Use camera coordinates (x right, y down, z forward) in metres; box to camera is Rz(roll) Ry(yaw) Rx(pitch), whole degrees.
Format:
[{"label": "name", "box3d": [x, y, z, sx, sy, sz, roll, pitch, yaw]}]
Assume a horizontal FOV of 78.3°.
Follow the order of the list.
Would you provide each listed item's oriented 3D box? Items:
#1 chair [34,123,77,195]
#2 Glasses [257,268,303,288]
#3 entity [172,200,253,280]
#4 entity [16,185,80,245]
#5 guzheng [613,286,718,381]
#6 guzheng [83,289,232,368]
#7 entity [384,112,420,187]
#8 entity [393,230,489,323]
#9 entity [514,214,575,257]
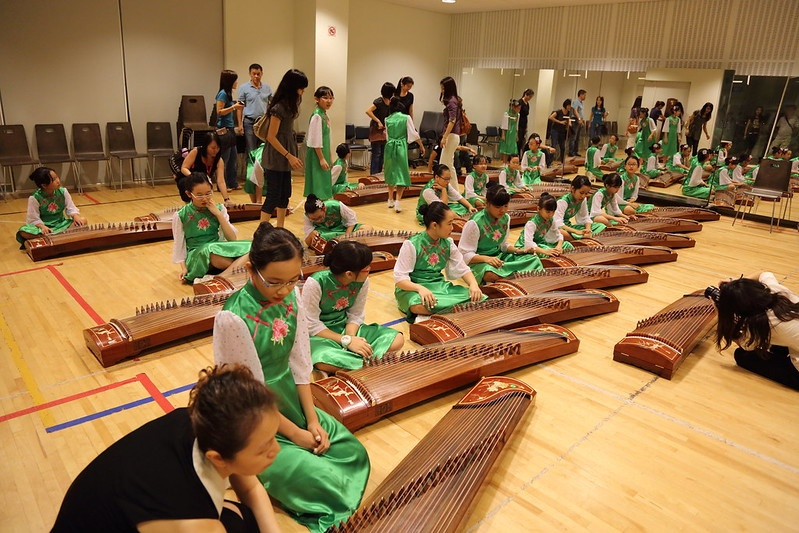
[{"label": "chair", "box3d": [-4.780, -1.623, 6.829, 0.513, 0.963, 0.578, -13, 35, -39]}, {"label": "Glasses", "box3d": [-0.572, 0.056, 2.412, 0.217, 0.104, 0.098, -14, 24, -35]}, {"label": "entity", "box3d": [-1.733, -0.221, 4.501, 0.478, 0.752, 0.538, 18, 34, 18]}, {"label": "entity", "box3d": [-3.728, -0.525, 5.220, 0.397, 0.626, 0.637, 36, 32, 14]}, {"label": "guzheng", "box3d": [2.104, 0.478, 3.809, 1.317, 0.286, 0.418, -32, 38, -34]}, {"label": "guzheng", "box3d": [-1.739, 0.460, 3.531, 0.801, 0.182, 0.232, -23, 45, -39]}, {"label": "entity", "box3d": [0.019, -1.736, 7.196, 0.497, 1.282, 0.491, 9, 15, 29]}, {"label": "entity", "box3d": [0.285, -0.082, 4.046, 0.779, 0.944, 0.612, -7, 20, -27]}, {"label": "entity", "box3d": [1.474, -0.323, 5.058, 0.506, 0.394, 0.414, -13, 25, -42]}]
